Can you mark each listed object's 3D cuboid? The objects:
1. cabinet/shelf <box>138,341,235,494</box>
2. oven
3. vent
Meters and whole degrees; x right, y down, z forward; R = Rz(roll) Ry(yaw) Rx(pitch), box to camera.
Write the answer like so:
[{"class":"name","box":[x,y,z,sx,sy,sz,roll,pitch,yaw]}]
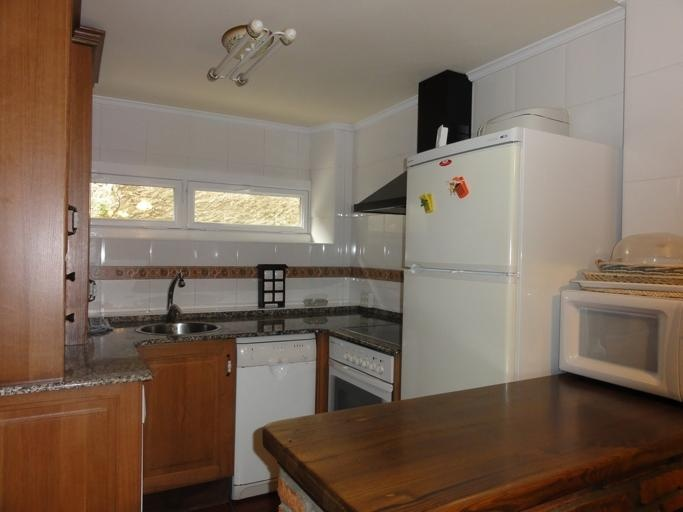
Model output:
[{"class":"cabinet/shelf","box":[-1.076,0.956,3.252,0.709,0.907,0.675,2,-1,-22]},{"class":"oven","box":[0.118,0.667,2.916,0.307,0.464,0.472,2,-3,-30]},{"class":"vent","box":[0.413,-0.706,3.685,0.869,1.223,0.761,2,-2,-19]}]
